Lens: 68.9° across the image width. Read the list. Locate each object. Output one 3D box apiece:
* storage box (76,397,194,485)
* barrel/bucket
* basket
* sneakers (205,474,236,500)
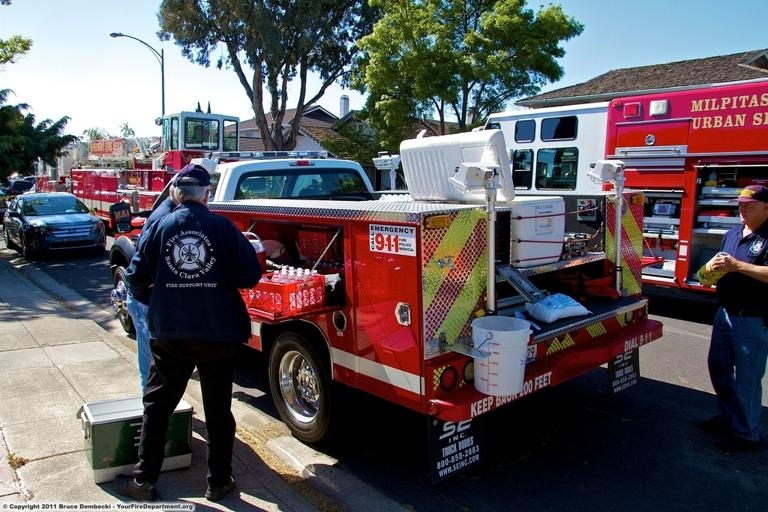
[{"bbox_3d":[-2.254,1.824,5.374,1.022,0.653,0.749,1,-19,-22],"label":"storage box"},{"bbox_3d":[0.981,0.847,4.915,0.614,0.590,0.658,1,5,0],"label":"barrel/bucket"},{"bbox_3d":[-0.983,0.357,5.725,0.621,0.389,0.847,3,-8,-35],"label":"basket"},{"bbox_3d":[-1.430,2.051,4.948,0.114,0.129,0.300,5,8,24],"label":"sneakers"}]
